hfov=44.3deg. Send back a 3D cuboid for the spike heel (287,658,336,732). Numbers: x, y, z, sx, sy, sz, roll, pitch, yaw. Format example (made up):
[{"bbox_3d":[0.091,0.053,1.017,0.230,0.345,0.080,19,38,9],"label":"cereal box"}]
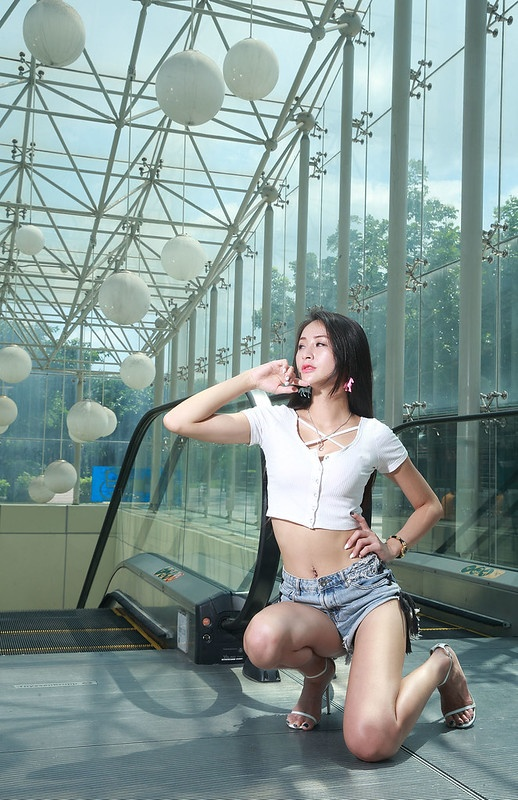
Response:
[{"bbox_3d":[0.163,0.909,1.977,0.213,0.172,0.089,6,-7,-43],"label":"spike heel"}]

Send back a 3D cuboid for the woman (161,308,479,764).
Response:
[{"bbox_3d":[0.205,0.370,2.027,0.643,1.301,0.690,-10,-16,32],"label":"woman"}]

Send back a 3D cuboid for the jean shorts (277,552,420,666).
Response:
[{"bbox_3d":[0.266,0.607,1.927,0.425,0.264,0.231,-16,-14,36],"label":"jean shorts"}]

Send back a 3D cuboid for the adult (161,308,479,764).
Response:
[{"bbox_3d":[0.187,0.359,1.979,0.808,1.301,0.565,-5,-14,14],"label":"adult"}]

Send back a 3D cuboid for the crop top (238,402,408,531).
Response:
[{"bbox_3d":[0.182,0.202,1.987,0.626,0.382,0.231,6,-8,3],"label":"crop top"}]
